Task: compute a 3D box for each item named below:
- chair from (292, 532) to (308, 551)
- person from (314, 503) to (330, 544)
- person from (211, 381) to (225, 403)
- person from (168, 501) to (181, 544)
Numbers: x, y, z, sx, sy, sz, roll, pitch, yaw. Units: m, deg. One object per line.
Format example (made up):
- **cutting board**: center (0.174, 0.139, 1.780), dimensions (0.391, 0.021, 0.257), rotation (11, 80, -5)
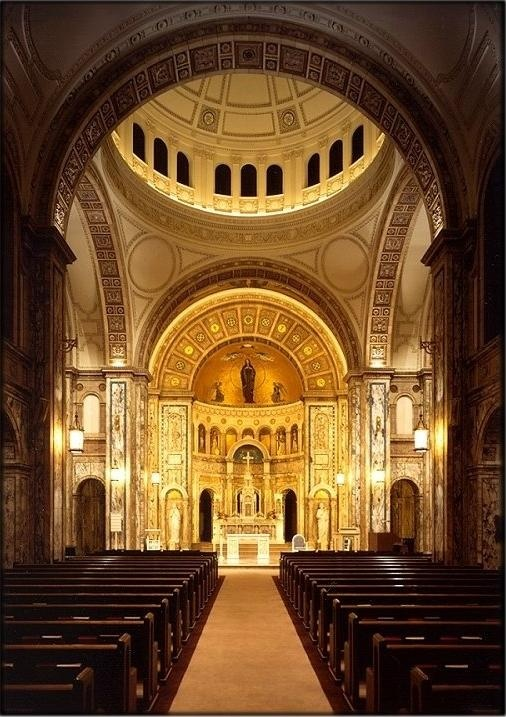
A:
- **chair**: center (1.574, 6.462, 23.978), dimensions (0.402, 0.499, 0.727), rotation (-1, -13, -1)
- **person**: center (2.837, 6.933, 28.460), dimensions (0.576, 1.906, 0.702), rotation (-2, -10, 6)
- **person**: center (-1.627, 1.662, 32.733), dimensions (0.630, 1.418, 0.545), rotation (-2, -3, 11)
- **person**: center (-3.205, 6.927, 28.474), dimensions (0.545, 1.879, 0.389), rotation (1, -9, -10)
